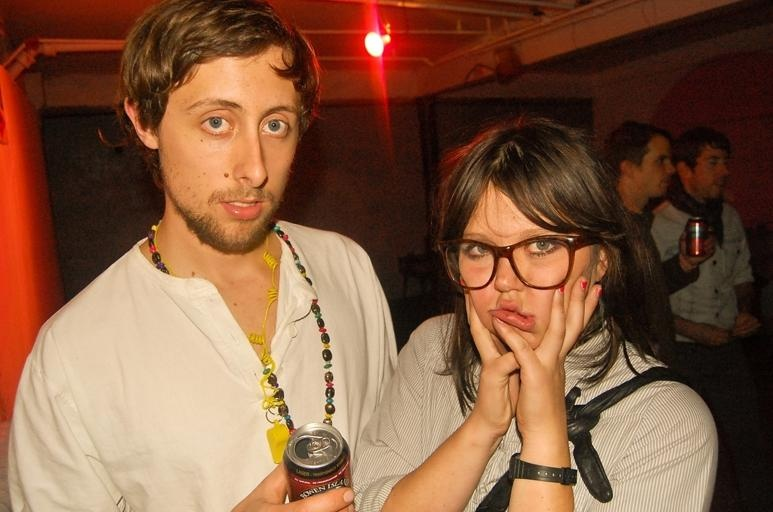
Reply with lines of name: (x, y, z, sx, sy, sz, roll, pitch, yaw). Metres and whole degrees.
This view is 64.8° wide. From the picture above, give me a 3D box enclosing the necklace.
necklace: (-0.561, 0.357, 2.861, 0.103, 1.215, 0.608, -27, 8, 15)
